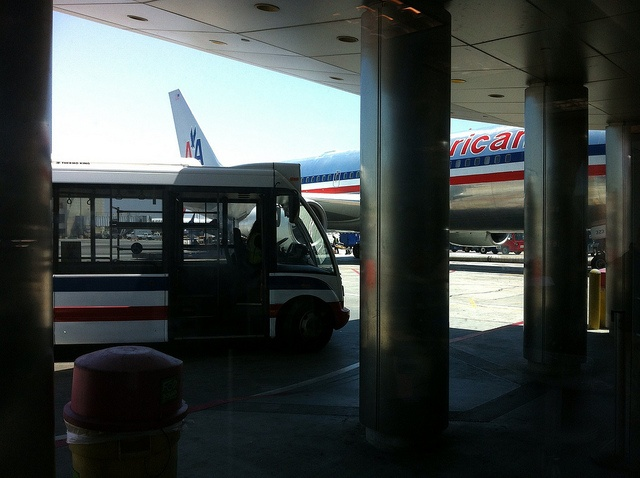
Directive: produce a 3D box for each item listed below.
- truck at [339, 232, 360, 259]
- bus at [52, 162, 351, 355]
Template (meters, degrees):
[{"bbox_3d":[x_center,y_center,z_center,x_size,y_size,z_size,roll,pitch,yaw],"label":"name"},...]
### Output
[{"bbox_3d":[1.266,0.217,25.814,0.824,1.189,1.565,-3,6,-9],"label":"truck"},{"bbox_3d":[-2.104,0.300,9.565,4.504,2.907,2.721,-1,0,-21],"label":"bus"}]
